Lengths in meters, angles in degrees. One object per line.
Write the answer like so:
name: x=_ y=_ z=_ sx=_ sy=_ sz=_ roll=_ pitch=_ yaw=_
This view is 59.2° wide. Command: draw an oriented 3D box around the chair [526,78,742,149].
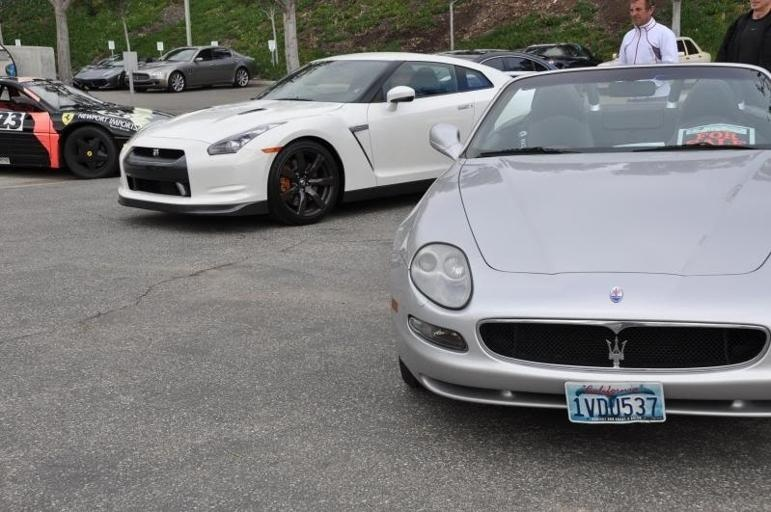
chair: x=1.655 y=-0.974 z=4.593 sx=1.206 sy=0.321 sz=0.628 roll=-4 pitch=32 yaw=4
